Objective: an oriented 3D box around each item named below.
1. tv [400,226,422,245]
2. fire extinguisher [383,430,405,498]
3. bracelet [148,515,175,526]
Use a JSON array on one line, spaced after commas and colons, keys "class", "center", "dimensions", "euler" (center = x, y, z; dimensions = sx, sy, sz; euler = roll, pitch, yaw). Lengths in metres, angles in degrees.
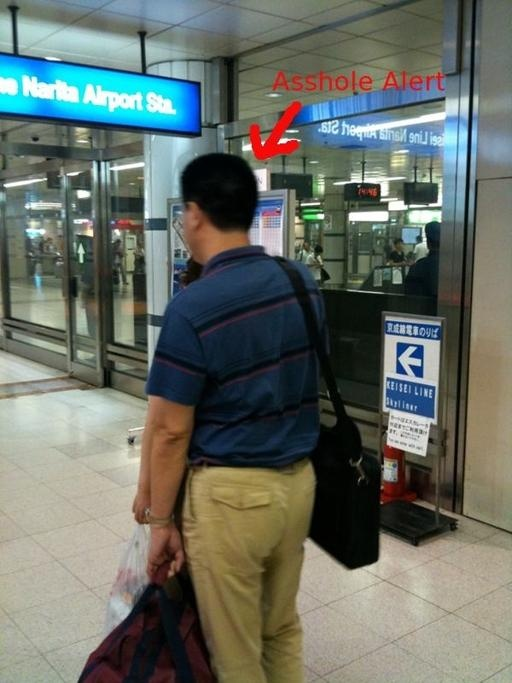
[{"class": "tv", "center": [0.984, -0.664, 3.451], "dimensions": [0.012, 0.112, 0.124], "euler": [-6, 8, -38]}, {"class": "fire extinguisher", "center": [0.890, 0.821, 3.516], "dimensions": [0.144, 0.401, 0.263], "euler": [1, 5, 13]}, {"class": "bracelet", "center": [-0.190, 0.358, 1.095], "dimensions": [0.039, 0.022, 0.030], "euler": [4, 4, 30]}]
